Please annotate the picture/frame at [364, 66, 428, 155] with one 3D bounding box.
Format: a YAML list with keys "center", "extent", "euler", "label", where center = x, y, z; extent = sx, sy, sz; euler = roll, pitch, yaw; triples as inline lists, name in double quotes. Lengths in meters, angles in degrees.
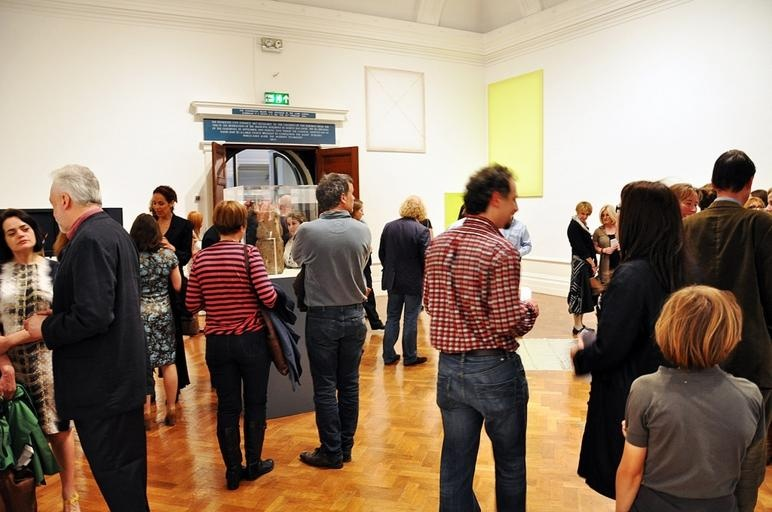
- center: [0.207, -2.932, 11.238]
  extent: [1.342, 1.657, 0.135]
  euler: [-6, 11, -25]
  label: "picture/frame"

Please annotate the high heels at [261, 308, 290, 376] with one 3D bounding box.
- center: [-0.812, 0.646, 4.167]
  extent: [0.170, 0.493, 0.092]
  euler: [-3, 10, -11]
  label: "high heels"
